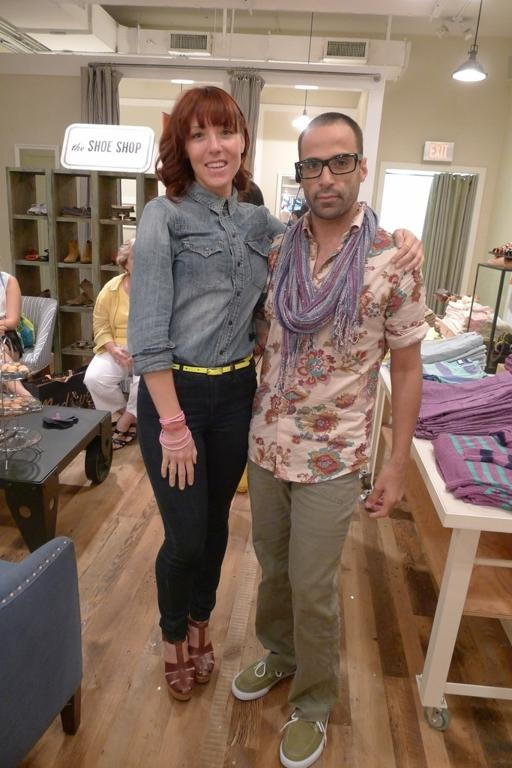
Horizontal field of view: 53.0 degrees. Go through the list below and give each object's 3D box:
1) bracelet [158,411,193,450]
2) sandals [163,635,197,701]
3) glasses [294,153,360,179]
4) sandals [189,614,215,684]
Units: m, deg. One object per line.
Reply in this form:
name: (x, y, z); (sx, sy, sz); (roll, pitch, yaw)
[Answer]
bracelet: (-0.173, 0.098, 1.159); (0.074, 0.082, 0.075); (-2, 18, 1)
sandals: (-0.229, 0.794, 1.480); (0.069, 0.122, 0.201); (-2, 9, -22)
glasses: (0.133, -0.447, 1.063); (0.144, 0.059, 0.076); (12, 15, 33)
sandals: (-0.161, 0.780, 1.507); (0.065, 0.131, 0.201); (0, -5, -6)
